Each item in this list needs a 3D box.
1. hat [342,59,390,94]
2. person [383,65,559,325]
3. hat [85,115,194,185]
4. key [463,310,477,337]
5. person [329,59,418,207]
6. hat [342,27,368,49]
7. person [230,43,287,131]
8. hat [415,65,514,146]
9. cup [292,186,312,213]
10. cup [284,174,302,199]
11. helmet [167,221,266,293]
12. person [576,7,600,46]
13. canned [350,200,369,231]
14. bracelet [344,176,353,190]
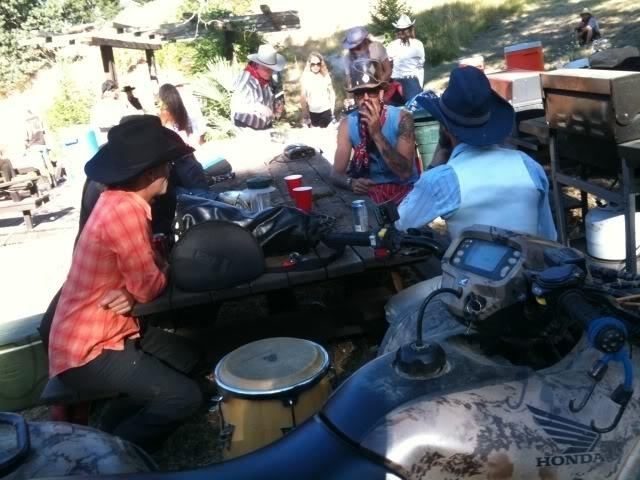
[{"bbox_3d":[0.330,-1.364,4.026,0.479,0.247,0.416,-6,33,1],"label":"hat"},{"bbox_3d":[0.865,-0.148,2.790,0.892,1.461,0.772,-8,21,6],"label":"person"},{"bbox_3d":[-0.982,-0.494,2.633,0.533,0.228,0.584,11,30,-36],"label":"hat"},{"bbox_3d":[0.445,0.249,1.451,0.022,0.078,0.056,1,9,-26],"label":"key"},{"bbox_3d":[0.467,-0.903,4.238,0.821,1.194,0.686,-17,18,-27],"label":"person"},{"bbox_3d":[0.494,-2.886,6.941,0.375,0.273,0.293,-8,18,8],"label":"hat"},{"bbox_3d":[-1.200,-2.746,8.897,0.846,1.516,1.894,-8,18,8],"label":"person"},{"bbox_3d":[0.756,-0.775,2.574,0.436,0.243,0.567,-16,46,-10],"label":"hat"},{"bbox_3d":[-0.117,-0.302,3.562,0.185,0.185,0.187,-3,18,1],"label":"cup"},{"bbox_3d":[-0.203,-0.418,3.839,0.181,0.184,0.180,-2,9,0],"label":"cup"},{"bbox_3d":[-0.688,0.153,2.912,0.528,0.181,0.697,10,-3,18],"label":"helmet"},{"bbox_3d":[8.608,-6.860,15.732,0.680,1.017,0.874,0,21,28],"label":"person"},{"bbox_3d":[0.251,-0.148,3.113,0.093,0.203,0.088,-5,16,6],"label":"canned"},{"bbox_3d":[0.241,-0.494,4.175,0.034,0.089,0.077,3,2,-33],"label":"bracelet"}]
